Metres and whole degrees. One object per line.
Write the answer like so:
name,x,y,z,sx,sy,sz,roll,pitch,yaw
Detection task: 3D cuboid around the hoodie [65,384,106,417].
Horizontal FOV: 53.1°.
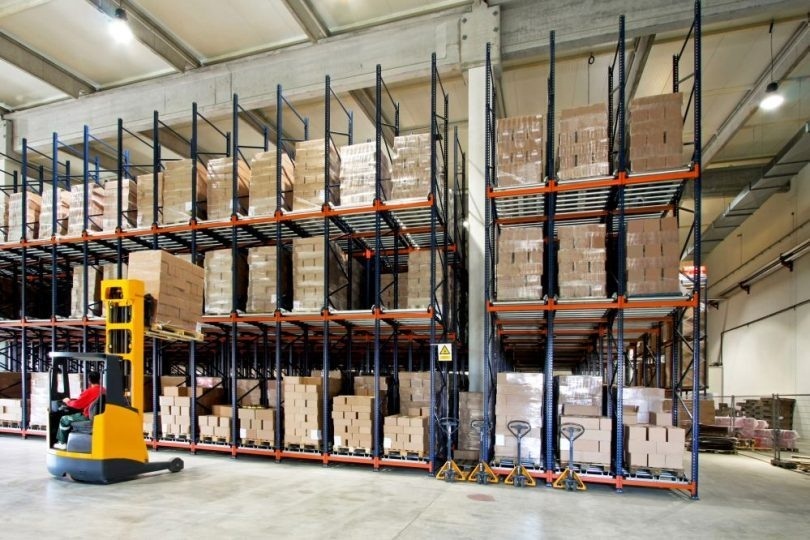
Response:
hoodie,-8.123,3.321,20.589,0.891,0.831,0.292,3,11,13

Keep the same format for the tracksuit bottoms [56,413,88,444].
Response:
tracksuit bottoms,-8.530,4.099,20.908,0.817,0.793,0.283,3,-7,15
